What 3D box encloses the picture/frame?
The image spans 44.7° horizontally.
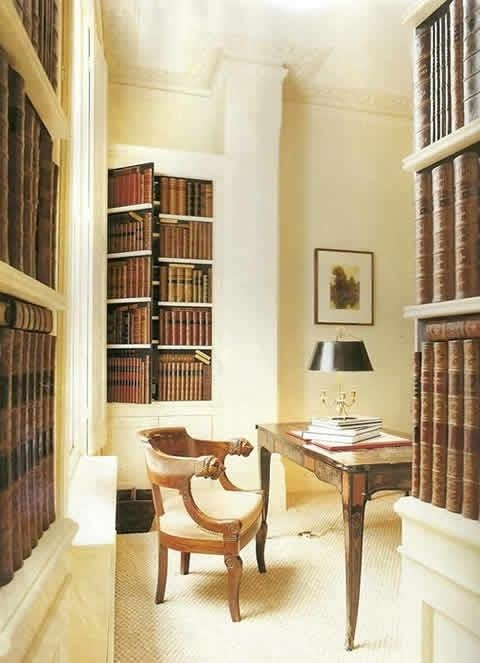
[{"bbox_3d":[0.777,-0.333,4.427,0.509,0.631,0.021,-1,0,-25],"label":"picture/frame"}]

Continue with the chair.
[{"bbox_3d":[-0.172,0.715,2.661,0.521,0.841,0.761,-2,-4,16],"label":"chair"}]

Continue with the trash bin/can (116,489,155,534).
[{"bbox_3d":[-0.645,1.089,3.527,0.204,0.151,0.220,1,2,-7],"label":"trash bin/can"}]

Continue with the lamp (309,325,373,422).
[{"bbox_3d":[0.634,0.273,3.772,0.516,0.804,0.576,0,-8,2],"label":"lamp"}]

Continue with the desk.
[{"bbox_3d":[0.467,0.814,2.805,0.547,0.638,1.394,1,-1,-15],"label":"desk"}]
